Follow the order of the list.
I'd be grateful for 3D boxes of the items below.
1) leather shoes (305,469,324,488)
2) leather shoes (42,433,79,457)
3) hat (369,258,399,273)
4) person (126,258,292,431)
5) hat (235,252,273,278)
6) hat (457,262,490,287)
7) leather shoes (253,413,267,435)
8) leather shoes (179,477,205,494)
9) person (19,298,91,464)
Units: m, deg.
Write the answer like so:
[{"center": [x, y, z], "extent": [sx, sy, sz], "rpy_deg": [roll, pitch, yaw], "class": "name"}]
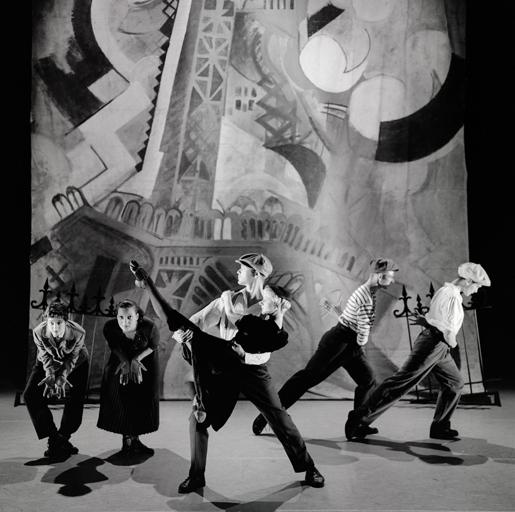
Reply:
[{"center": [0.392, 1.471, 3.788], "extent": [0.136, 0.124, 0.133], "rpy_deg": [0, -4, 1], "class": "leather shoes"}, {"center": [-1.542, 1.492, 4.482], "extent": [0.255, 0.185, 0.235], "rpy_deg": [3, -6, -36], "class": "leather shoes"}, {"center": [1.159, 0.074, 5.114], "extent": [0.177, 0.102, 0.126], "rpy_deg": [-4, 1, -6], "class": "hat"}, {"center": [-0.208, 0.676, 3.504], "extent": [0.804, 1.285, 0.444], "rpy_deg": [3, 17, 3], "class": "person"}, {"center": [-0.021, 0.032, 4.003], "extent": [0.220, 0.124, 0.170], "rpy_deg": [27, -19, 14], "class": "hat"}, {"center": [2.004, 0.119, 5.131], "extent": [0.240, 0.108, 0.209], "rpy_deg": [37, -21, -11], "class": "hat"}, {"center": [0.026, 1.594, 5.393], "extent": [0.100, 0.291, 0.121], "rpy_deg": [4, -4, 0], "class": "leather shoes"}, {"center": [-0.421, 1.485, 3.661], "extent": [0.188, 0.086, 0.069], "rpy_deg": [12, -7, -44], "class": "leather shoes"}, {"center": [-1.652, 0.990, 4.636], "extent": [0.493, 1.208, 0.559], "rpy_deg": [2, -5, -18], "class": "person"}]
